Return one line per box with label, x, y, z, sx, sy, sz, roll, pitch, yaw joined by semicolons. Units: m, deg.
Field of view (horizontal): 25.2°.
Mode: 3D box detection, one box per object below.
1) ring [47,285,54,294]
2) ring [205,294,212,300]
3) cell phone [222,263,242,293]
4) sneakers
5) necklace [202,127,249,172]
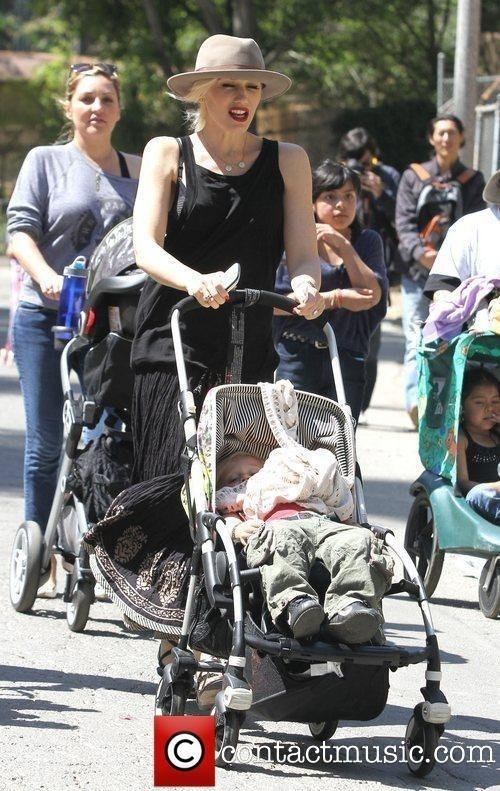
ring;-0.790;-0.410;4.411;0.026;0.033;0.011;0;1;-10
ring;-0.112;-0.255;2.988;0.015;0.019;0.007;1;-3;-8
cell phone;-0.052;-0.307;2.986;0.040;0.075;0.088;4;4;-2
sneakers;0.201;0.534;2.749;0.262;0.099;0.105;3;33;-4
necklace;-0.078;-0.739;3.414;0.132;0.089;0.152;1;52;-12
